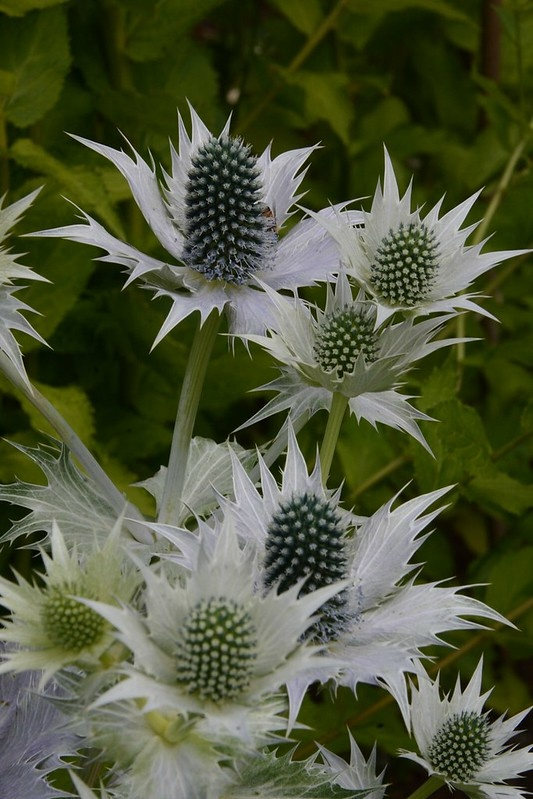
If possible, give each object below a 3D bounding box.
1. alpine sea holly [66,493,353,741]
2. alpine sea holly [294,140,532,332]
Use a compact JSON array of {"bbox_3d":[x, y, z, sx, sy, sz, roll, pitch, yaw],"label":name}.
[{"bbox_3d":[-0.048,0.208,0.726,0.158,0.188,0.209,36,59,15],"label":"alpine sea holly"},{"bbox_3d":[0.195,-0.176,1.109,0.260,0.125,0.266,37,43,26],"label":"alpine sea holly"}]
